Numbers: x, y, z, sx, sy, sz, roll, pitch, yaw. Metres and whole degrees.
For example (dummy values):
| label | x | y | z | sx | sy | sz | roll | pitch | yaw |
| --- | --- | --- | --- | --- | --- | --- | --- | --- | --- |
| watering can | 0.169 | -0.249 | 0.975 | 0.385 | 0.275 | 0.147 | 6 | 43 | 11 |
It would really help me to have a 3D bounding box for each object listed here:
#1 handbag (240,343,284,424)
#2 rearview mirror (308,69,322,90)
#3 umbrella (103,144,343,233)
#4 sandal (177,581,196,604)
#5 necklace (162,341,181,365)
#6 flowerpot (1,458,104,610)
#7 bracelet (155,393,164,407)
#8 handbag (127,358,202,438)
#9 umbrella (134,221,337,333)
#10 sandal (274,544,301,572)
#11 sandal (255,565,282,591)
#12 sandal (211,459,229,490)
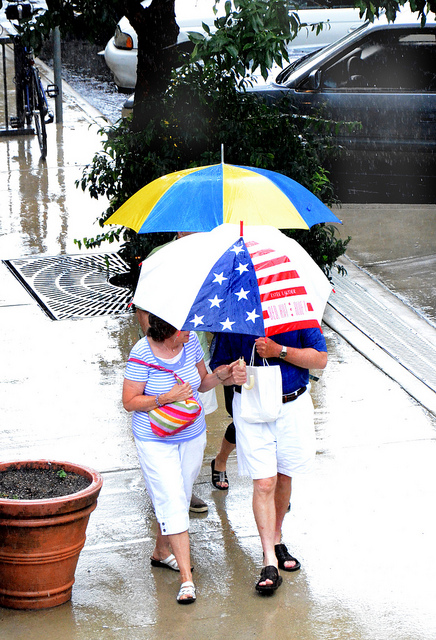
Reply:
| label | x | y | z | sx | sy | sz | roll | pitch | yaw |
| --- | --- | --- | --- | --- | --- | --- | --- | --- | --- |
| handbag | 0.197 | 0.343 | 3.891 | 0.177 | 0.260 | 0.115 | 3 | 15 | 11 |
| rearview mirror | 1.159 | -2.914 | 10.215 | 0.135 | 0.218 | 0.220 | 8 | -15 | 5 |
| umbrella | 0.009 | -0.566 | 4.538 | 0.900 | 0.634 | 0.938 | -1 | 19 | -16 |
| sandal | -0.145 | 1.223 | 3.848 | 0.085 | 0.109 | 0.152 | -1 | 14 | -2 |
| necklace | -0.220 | 0.149 | 3.892 | 0.010 | 0.138 | 0.023 | -52 | 20 | -25 |
| flowerpot | -0.749 | 0.974 | 3.822 | 0.462 | 0.585 | 0.533 | -2 | 15 | -8 |
| bracelet | -0.267 | 0.354 | 3.836 | 0.039 | 0.044 | 0.090 | -2 | 14 | -5 |
| handbag | -0.252 | 0.354 | 3.853 | 0.314 | 0.258 | 0.392 | -8 | 22 | -25 |
| umbrella | 0.091 | -0.282 | 3.981 | 0.996 | 0.328 | 0.954 | 2 | 23 | -20 |
| sandal | 0.324 | 1.164 | 4.155 | 0.070 | 0.076 | 0.198 | -7 | 9 | -20 |
| sandal | 0.222 | 1.179 | 3.835 | 0.063 | 0.067 | 0.155 | 0 | 0 | 10 |
| sandal | 0.012 | 0.904 | 5.016 | 0.102 | 0.158 | 0.148 | -1 | 14 | -2 |
